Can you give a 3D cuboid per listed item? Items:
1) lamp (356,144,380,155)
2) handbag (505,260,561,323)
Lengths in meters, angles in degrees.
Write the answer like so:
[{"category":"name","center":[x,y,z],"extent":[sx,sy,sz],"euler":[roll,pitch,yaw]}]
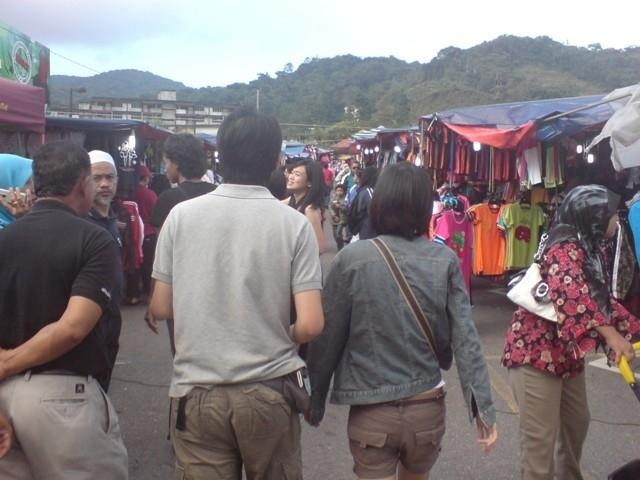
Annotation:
[{"category":"lamp","center":[1.441,-2.704,16.967],"extent":[0.821,0.234,0.856],"euler":[0,1,7]},{"category":"handbag","center":[1.287,0.341,3.486],"extent":[0.340,0.131,0.313],"euler":[30,40,-21]}]
